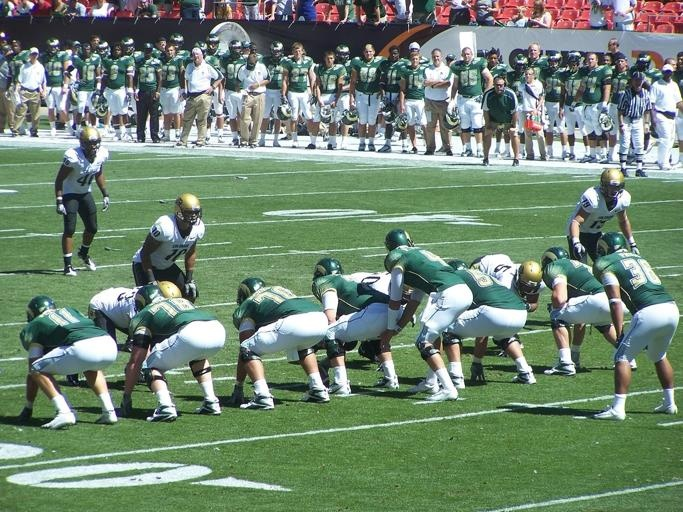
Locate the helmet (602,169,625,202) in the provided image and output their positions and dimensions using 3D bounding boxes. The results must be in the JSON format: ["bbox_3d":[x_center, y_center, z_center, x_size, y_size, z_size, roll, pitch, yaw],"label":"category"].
[{"bbox_3d":[3.163,-0.834,13.278,0.256,0.370,0.342,-2,4,13],"label":"helmet"}]

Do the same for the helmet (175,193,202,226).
[{"bbox_3d":[-1.617,-0.489,11.951,0.255,0.323,0.308,-4,4,-8],"label":"helmet"}]

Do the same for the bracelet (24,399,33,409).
[{"bbox_3d":[-2.719,1.294,9.955,0.067,0.066,0.064,-6,-31,13],"label":"bracelet"}]

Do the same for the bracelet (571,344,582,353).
[{"bbox_3d":[2.448,0.956,11.867,0.079,0.057,0.078,1,-1,26],"label":"bracelet"}]

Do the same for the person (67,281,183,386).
[{"bbox_3d":[-2.116,0.599,11.160,1.037,0.479,0.609,-12,14,27],"label":"person"}]

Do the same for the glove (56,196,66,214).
[{"bbox_3d":[-3.588,-0.664,14.533,0.075,0.194,0.146,-19,-14,-7],"label":"glove"}]

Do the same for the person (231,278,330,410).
[{"bbox_3d":[-0.629,0.781,10.775,1.125,1.101,0.955,0,0,29],"label":"person"}]

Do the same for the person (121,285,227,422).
[{"bbox_3d":[-1.559,0.842,10.479,0.884,1.226,1.229,1,-7,-28],"label":"person"}]

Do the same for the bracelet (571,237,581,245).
[{"bbox_3d":[2.743,-0.179,13.309,0.083,0.079,0.080,-11,20,-35],"label":"bracelet"}]

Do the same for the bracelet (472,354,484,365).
[{"bbox_3d":[1.358,1.031,11.368,0.085,0.061,0.085,1,-2,24],"label":"bracelet"}]

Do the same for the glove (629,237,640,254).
[{"bbox_3d":[3.645,-0.129,14.195,0.066,0.231,0.075,-11,-20,-34],"label":"glove"}]

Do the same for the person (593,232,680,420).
[{"bbox_3d":[2.638,0.707,10.233,0.743,1.444,0.634,-2,4,15],"label":"person"}]

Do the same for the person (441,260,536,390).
[{"bbox_3d":[1.451,0.664,11.413,0.993,1.221,1.046,0,-9,4],"label":"person"}]
